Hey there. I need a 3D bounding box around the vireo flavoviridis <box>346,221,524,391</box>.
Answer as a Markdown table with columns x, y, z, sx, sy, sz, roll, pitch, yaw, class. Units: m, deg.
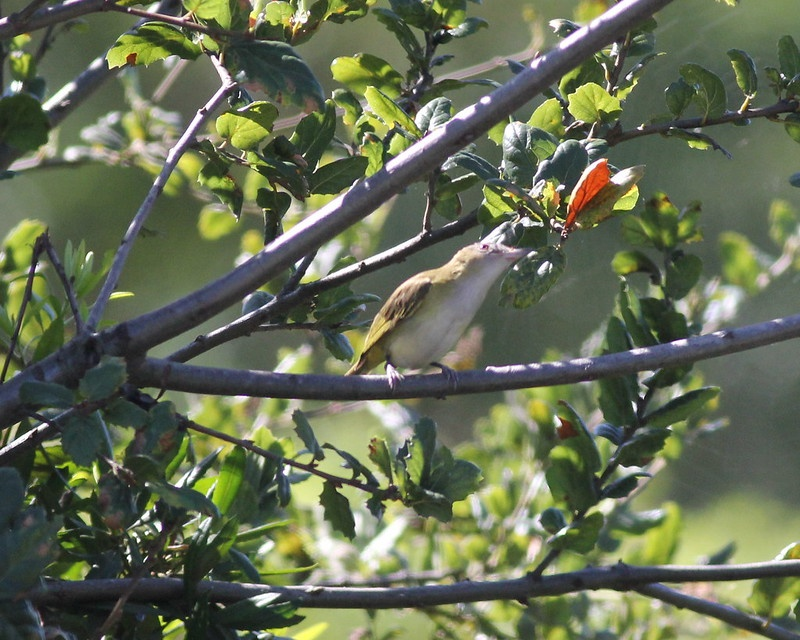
| x | y | z | sx | sy | sz | roll | pitch | yaw | class |
| --- | --- | --- | --- | --- | --- | --- | --- | --- | --- |
| 0.177 | -0.049 | 3.937 | 0.718 | 0.346 | 0.290 | -24 | -29 | 39 | vireo flavoviridis |
